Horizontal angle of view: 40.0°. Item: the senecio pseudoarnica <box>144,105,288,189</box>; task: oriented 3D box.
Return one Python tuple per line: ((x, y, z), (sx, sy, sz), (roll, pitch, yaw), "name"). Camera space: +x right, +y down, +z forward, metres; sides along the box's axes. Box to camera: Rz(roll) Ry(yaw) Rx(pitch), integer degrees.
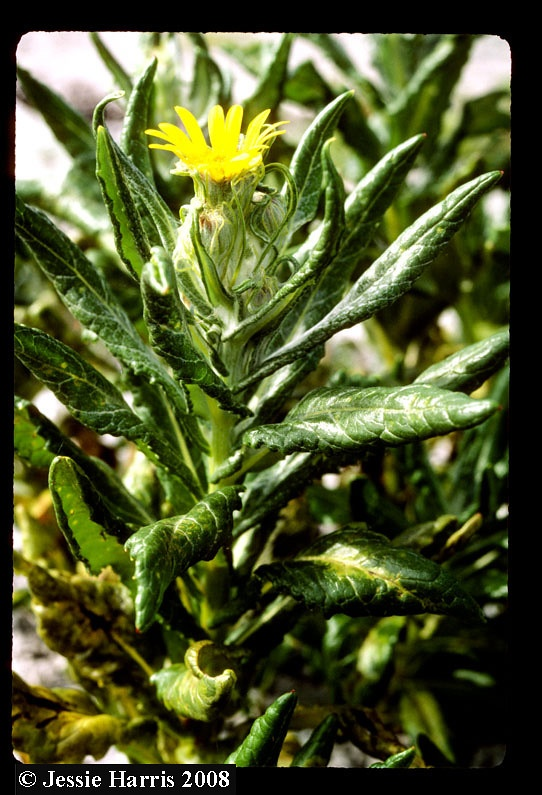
((-0.036, -0.173, 0.493), (0.065, 0.023, 0.063), (8, 0, -8), "senecio pseudoarnica")
